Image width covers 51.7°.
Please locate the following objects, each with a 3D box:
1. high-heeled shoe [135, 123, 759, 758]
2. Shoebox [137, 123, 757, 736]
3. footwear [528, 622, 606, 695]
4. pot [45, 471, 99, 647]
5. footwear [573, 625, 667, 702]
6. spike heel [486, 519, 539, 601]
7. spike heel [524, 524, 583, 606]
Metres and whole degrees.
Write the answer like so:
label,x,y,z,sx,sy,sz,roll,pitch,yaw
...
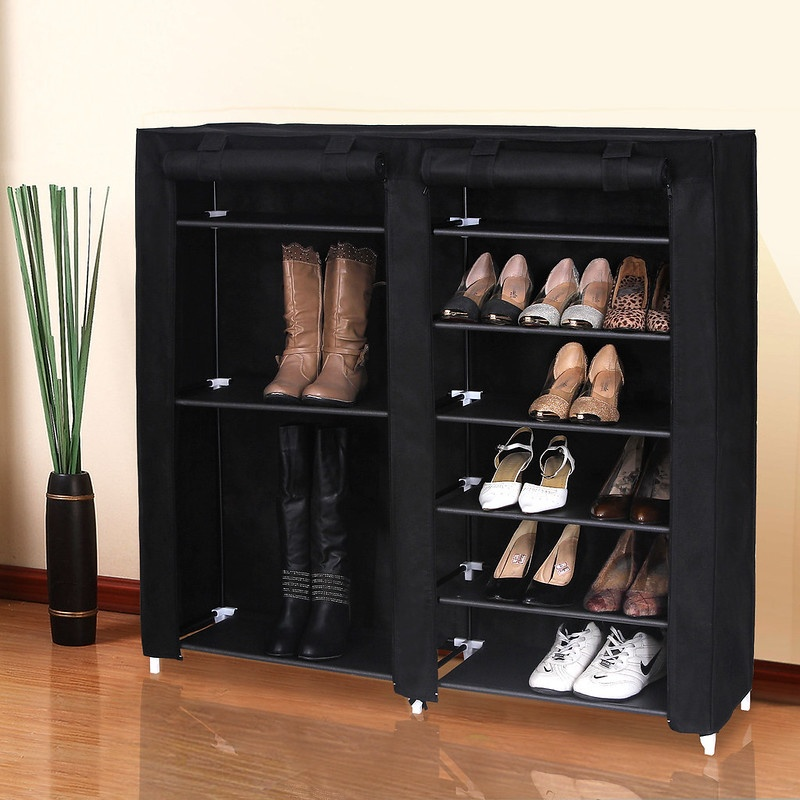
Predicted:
label,x,y,z,sx,sy,sz,roll,pitch,yaw
high-heeled shoe,0.136,0.097,1.952,1.627,1.303,0.455,4,12,15
Shoebox,0.047,0.078,2.026,1.479,1.170,0.420,0,3,26
footwear,0.385,0.596,1.949,0.083,0.074,0.223,-1,13,25
pot,-0.958,0.462,2.409,0.144,0.513,0.100,-1,5,-11
footwear,0.487,0.592,1.866,0.095,0.091,0.255,5,9,32
spike heel,0.277,0.393,1.991,0.076,0.042,0.258,7,43,25
spike heel,0.361,0.395,1.981,0.087,0.098,0.250,6,26,26
